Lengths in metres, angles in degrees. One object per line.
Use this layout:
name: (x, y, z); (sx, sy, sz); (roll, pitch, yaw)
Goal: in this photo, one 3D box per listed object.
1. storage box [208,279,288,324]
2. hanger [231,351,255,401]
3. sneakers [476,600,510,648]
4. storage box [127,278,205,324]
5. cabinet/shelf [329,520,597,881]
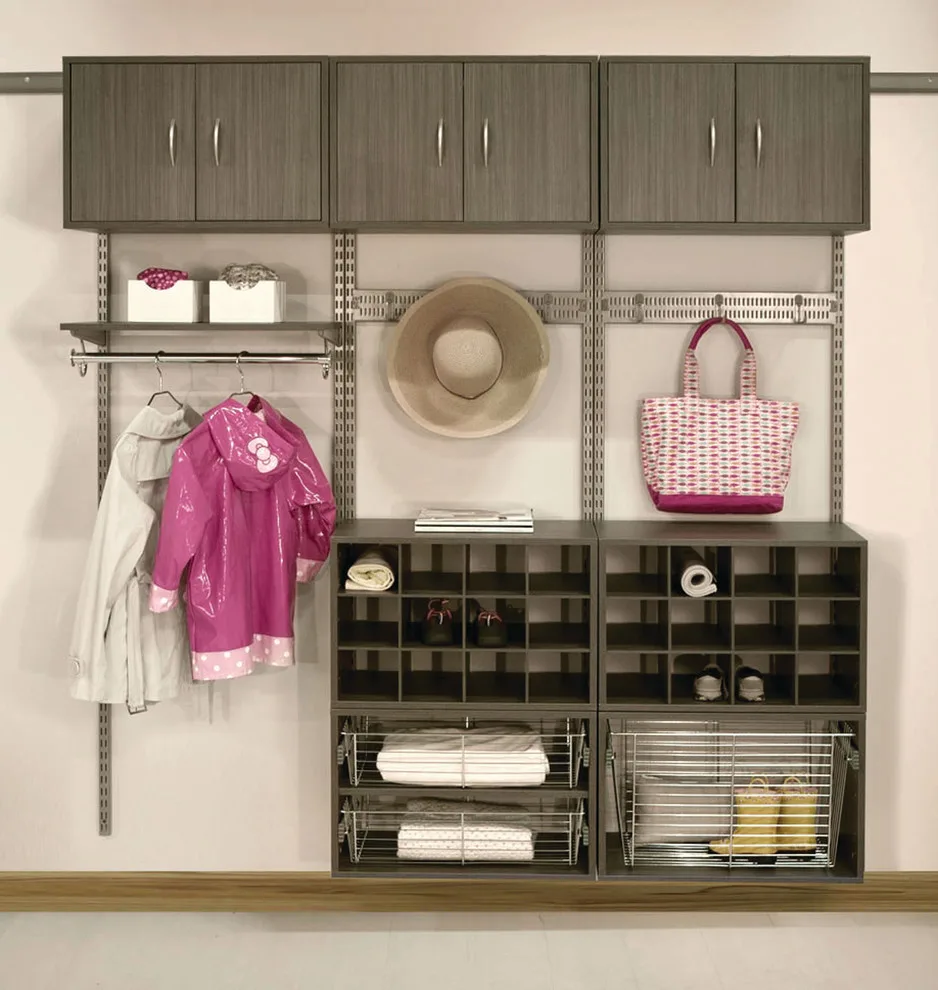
storage box: (-0.582, -0.504, 3.386); (0.128, 0.093, 0.144); (0, 8, -2)
hanger: (-0.606, -0.313, 3.504); (0.052, 0.123, 0.208); (-1, -4, -10)
sneakers: (0.057, 0.336, 3.366); (0.081, 0.111, 0.240); (-1, 4, 2)
storage box: (-0.799, -0.499, 3.393); (0.130, 0.091, 0.135); (1, 9, 0)
cabinet/shelf: (-0.018, 0.541, 3.389); (0.821, 1.240, 0.385); (0, 5, 3)
